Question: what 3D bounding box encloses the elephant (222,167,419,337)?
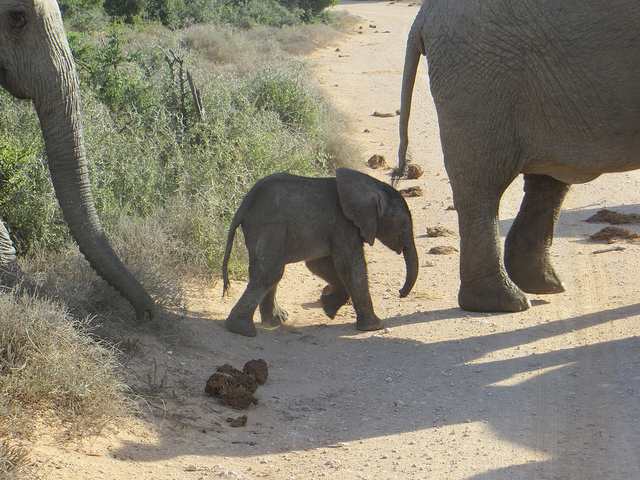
[{"bbox_3d":[0.004,0.147,9.695,2.213,1.687,0.973,-3,8,-17],"label":"elephant"}]
